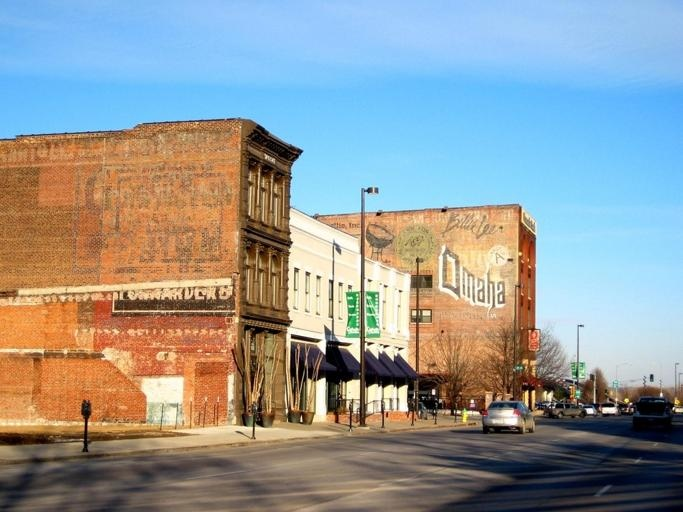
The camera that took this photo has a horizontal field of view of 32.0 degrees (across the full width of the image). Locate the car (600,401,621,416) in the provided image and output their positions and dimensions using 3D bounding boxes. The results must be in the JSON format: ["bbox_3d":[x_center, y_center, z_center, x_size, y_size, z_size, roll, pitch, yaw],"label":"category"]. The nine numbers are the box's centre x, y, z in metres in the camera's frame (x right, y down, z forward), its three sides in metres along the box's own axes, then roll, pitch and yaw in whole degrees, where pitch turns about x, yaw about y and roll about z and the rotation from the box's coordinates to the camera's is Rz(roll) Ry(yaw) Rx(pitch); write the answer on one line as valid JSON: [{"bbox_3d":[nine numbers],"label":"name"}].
[{"bbox_3d":[27.822,15.692,122.725,1.484,1.229,2.487,-1,1,18],"label":"car"}]

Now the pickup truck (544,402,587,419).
[{"bbox_3d":[20.680,14.343,109.583,3.626,1.232,1.617,-3,3,-34],"label":"pickup truck"}]
